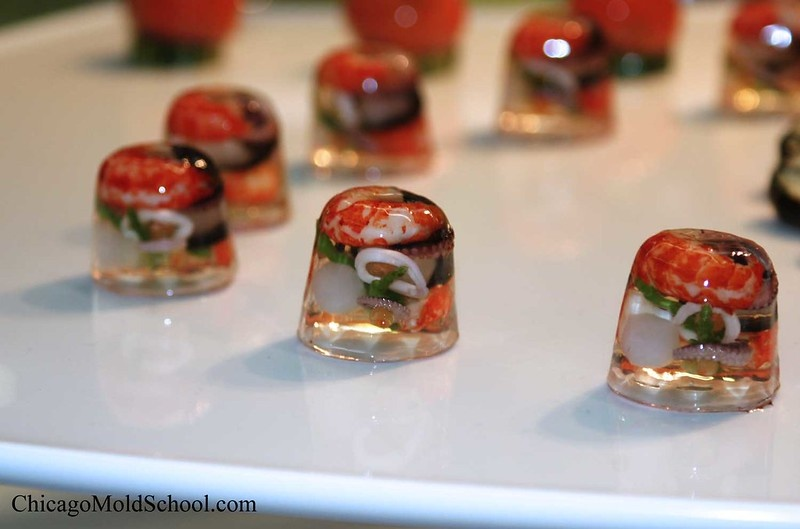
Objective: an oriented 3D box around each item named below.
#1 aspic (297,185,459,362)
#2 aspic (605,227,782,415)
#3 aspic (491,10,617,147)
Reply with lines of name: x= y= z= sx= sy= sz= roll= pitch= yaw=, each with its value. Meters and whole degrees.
aspic: x=-0.042 y=0.000 z=0.833 sx=0.178 sy=0.154 sz=0.175 roll=9 pitch=17 yaw=17
aspic: x=0.274 y=0.052 z=0.773 sx=0.163 sy=0.137 sz=0.166 roll=3 pitch=6 yaw=6
aspic: x=0.244 y=-0.352 z=1.408 sx=0.228 sy=0.220 sz=0.218 roll=-1 pitch=25 yaw=-1
